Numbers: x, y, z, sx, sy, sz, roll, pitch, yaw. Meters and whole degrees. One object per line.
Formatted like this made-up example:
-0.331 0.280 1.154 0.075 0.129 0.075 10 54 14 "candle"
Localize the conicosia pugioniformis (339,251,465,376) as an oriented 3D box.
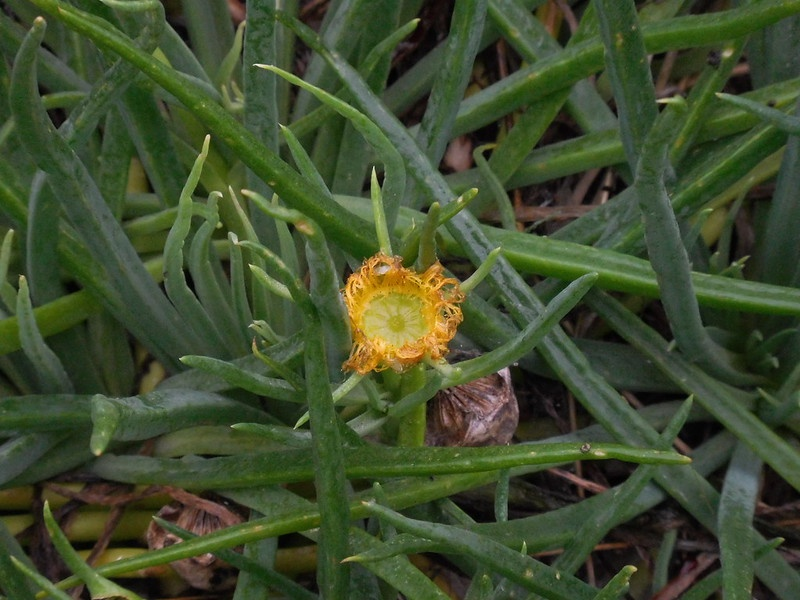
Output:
0.004 0.021 0.785 0.111 0.107 0.110 1 75 2 "conicosia pugioniformis"
